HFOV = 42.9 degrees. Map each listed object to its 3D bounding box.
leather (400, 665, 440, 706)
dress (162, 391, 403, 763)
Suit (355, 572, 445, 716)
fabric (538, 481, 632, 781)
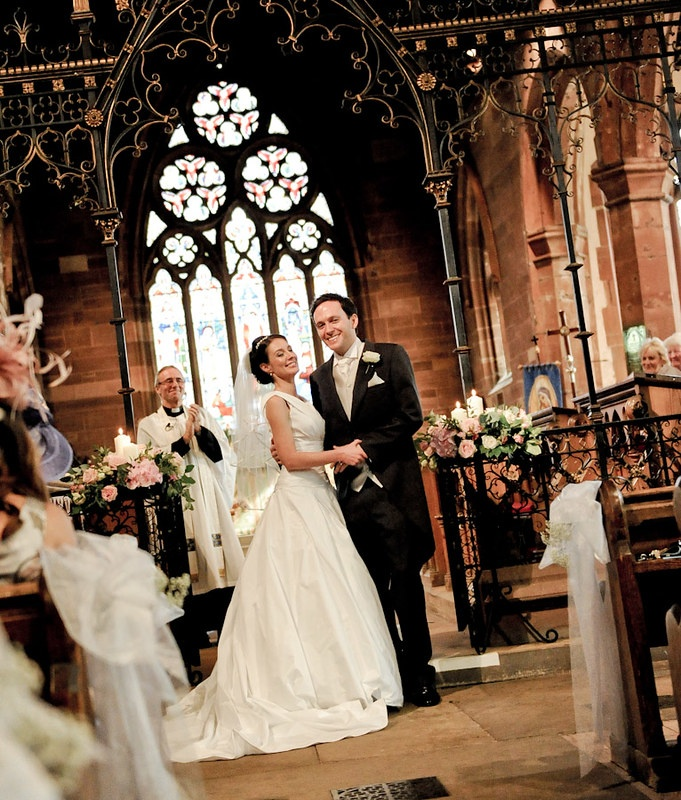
[{"bbox_3d":[0.399,1.427,4.371,0.155,0.175,0.319,-6,-6,-14],"label":"leather"},{"bbox_3d":[-0.284,0.948,4.145,0.997,1.241,0.758,-8,-6,-2],"label":"dress"},{"bbox_3d":[0.323,1.211,4.347,0.182,0.660,0.496,-17,-15,31],"label":"Suit"},{"bbox_3d":[0.914,0.810,3.199,0.249,0.894,0.333,-14,-22,20],"label":"fabric"}]
